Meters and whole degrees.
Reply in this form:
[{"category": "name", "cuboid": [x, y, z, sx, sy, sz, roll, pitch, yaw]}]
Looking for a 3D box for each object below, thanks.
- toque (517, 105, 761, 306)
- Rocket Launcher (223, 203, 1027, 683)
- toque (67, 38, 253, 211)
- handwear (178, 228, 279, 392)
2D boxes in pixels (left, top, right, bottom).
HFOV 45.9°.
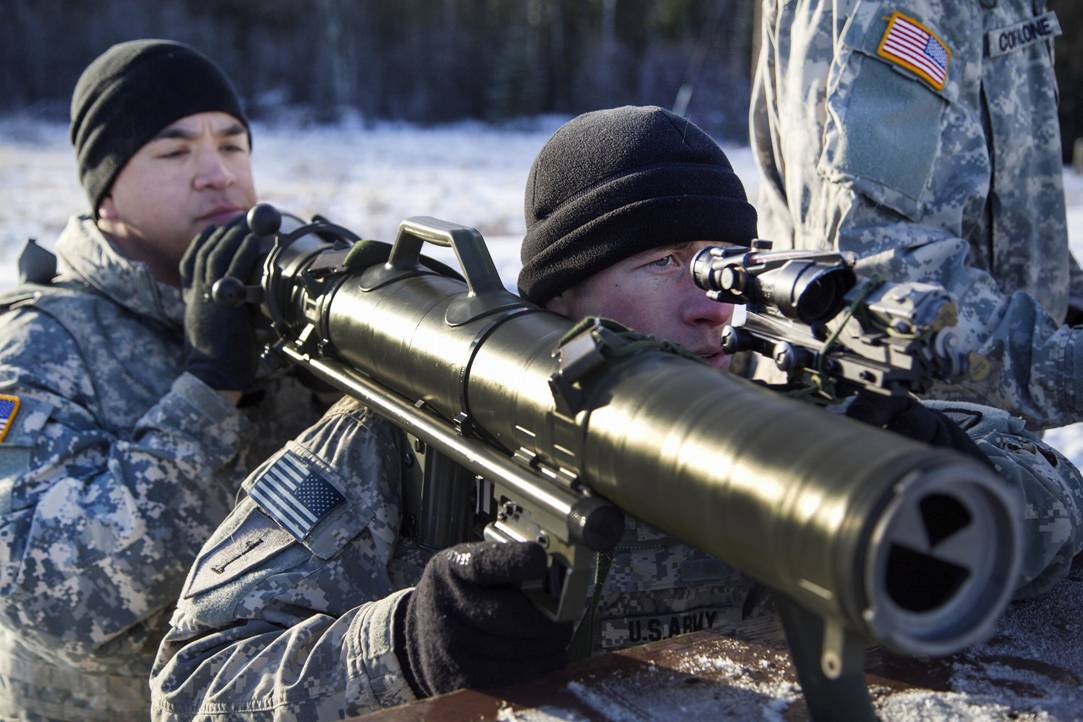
[{"category": "toque", "cuboid": [0.304, -0.418, 4.007, 0.785, 0.729, 0.908, 1, 4, -2]}, {"category": "Rocket Launcher", "cuboid": [0.010, 0.206, 3.491, 0.554, 0.927, 2.611, -16, 22, -35]}, {"category": "toque", "cuboid": [-1.472, -0.927, 4.839, 0.629, 0.651, 0.684, -26, 20, -37]}, {"category": "handwear", "cuboid": [-1.042, -0.189, 4.296, 0.358, 0.542, 0.172, 0, 10, -29]}]
